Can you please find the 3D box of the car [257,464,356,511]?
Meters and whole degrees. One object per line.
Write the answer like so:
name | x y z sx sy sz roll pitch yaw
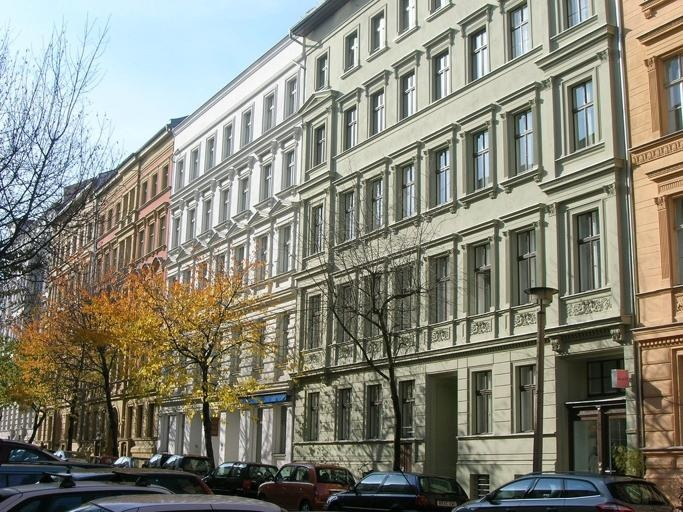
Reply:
car | -1.297 8.554 32.427 1.821 1.453 2.993 14 -19 -42
